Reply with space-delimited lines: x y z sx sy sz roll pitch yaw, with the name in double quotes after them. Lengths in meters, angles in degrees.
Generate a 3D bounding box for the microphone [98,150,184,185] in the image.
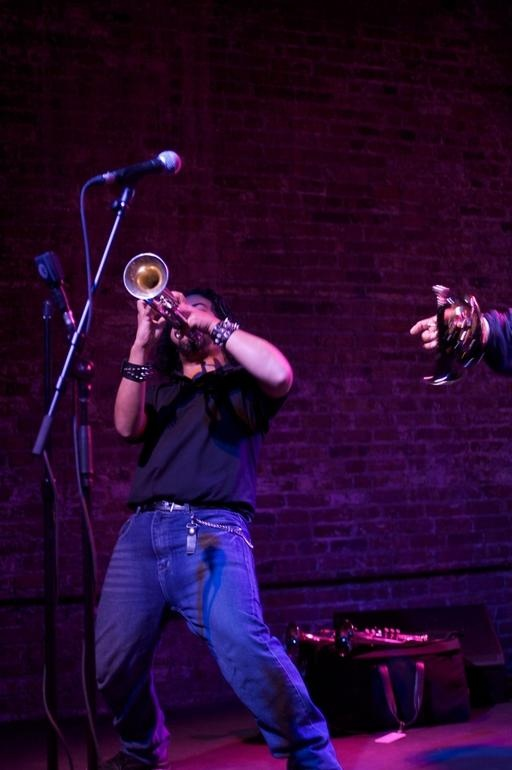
-0.397 -0.738 2.836 0.264 0.111 0.187 -1 19 -11 "microphone"

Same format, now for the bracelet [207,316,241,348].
-0.099 -0.173 2.743 0.079 0.043 0.092 5 56 51 "bracelet"

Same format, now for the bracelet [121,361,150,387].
-0.415 -0.046 2.920 0.097 0.064 0.100 6 7 4 "bracelet"

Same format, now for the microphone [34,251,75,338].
-0.680 -0.314 2.840 0.177 0.323 0.221 1 5 -22 "microphone"
